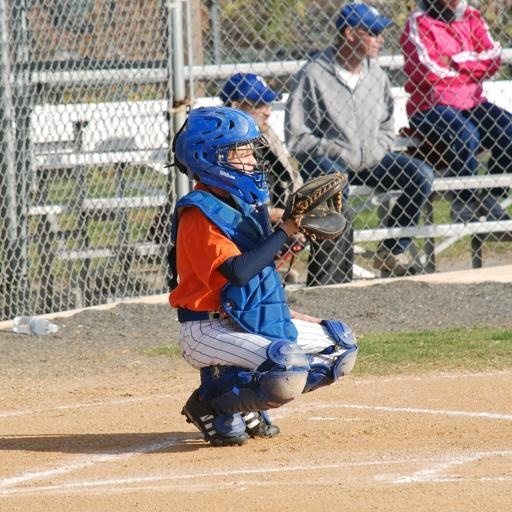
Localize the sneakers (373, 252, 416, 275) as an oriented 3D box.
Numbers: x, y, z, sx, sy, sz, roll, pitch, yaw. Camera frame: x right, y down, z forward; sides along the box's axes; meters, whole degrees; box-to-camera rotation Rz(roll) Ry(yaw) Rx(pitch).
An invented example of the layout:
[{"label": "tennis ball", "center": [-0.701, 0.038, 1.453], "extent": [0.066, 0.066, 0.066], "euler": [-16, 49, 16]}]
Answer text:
[{"label": "sneakers", "center": [0.926, 0.059, 8.314], "extent": [0.237, 0.225, 0.160], "euler": [-2, 16, 14]}]

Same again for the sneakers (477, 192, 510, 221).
[{"label": "sneakers", "center": [1.639, -0.334, 8.502], "extent": [0.229, 0.140, 0.084], "euler": [27, 62, 21]}]

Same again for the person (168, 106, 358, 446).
[{"label": "person", "center": [0.002, 0.090, 5.343], "extent": [0.791, 1.455, 0.511], "euler": [-3, 12, 0]}]

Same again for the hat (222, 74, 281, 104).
[{"label": "hat", "center": [-0.046, -1.065, 7.891], "extent": [0.277, 0.150, 0.196], "euler": [11, 17, 1]}]

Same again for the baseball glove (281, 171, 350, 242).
[{"label": "baseball glove", "center": [0.257, -0.228, 5.326], "extent": [0.310, 0.243, 0.143], "euler": [-20, 39, -20]}]

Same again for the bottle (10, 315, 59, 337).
[{"label": "bottle", "center": [-1.344, 0.412, 7.347], "extent": [0.187, 0.071, 0.141], "euler": [1, -1, 24]}]

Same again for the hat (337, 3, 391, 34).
[{"label": "hat", "center": [0.691, -1.559, 8.036], "extent": [0.281, 0.162, 0.182], "euler": [5, 27, 7]}]

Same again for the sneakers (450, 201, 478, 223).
[{"label": "sneakers", "center": [1.445, -0.314, 8.552], "extent": [0.192, 0.193, 0.120], "euler": [-2, -5, 32]}]

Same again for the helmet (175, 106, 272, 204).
[{"label": "helmet", "center": [-0.167, -0.448, 5.301], "extent": [0.439, 0.392, 0.341], "euler": [6, 8, 5]}]
